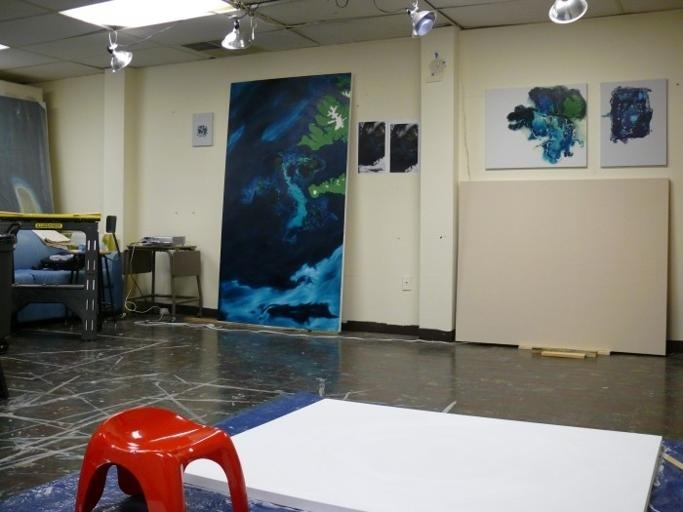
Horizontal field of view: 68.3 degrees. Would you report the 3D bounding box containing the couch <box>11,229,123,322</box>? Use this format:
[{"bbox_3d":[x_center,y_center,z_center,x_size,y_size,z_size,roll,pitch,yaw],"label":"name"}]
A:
[{"bbox_3d":[-3.626,0.166,6.552,1.388,1.385,1.108,0,1,6],"label":"couch"}]

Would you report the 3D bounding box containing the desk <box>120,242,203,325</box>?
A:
[{"bbox_3d":[-2.481,0.329,7.024,0.836,1.017,0.729,2,4,19],"label":"desk"}]
